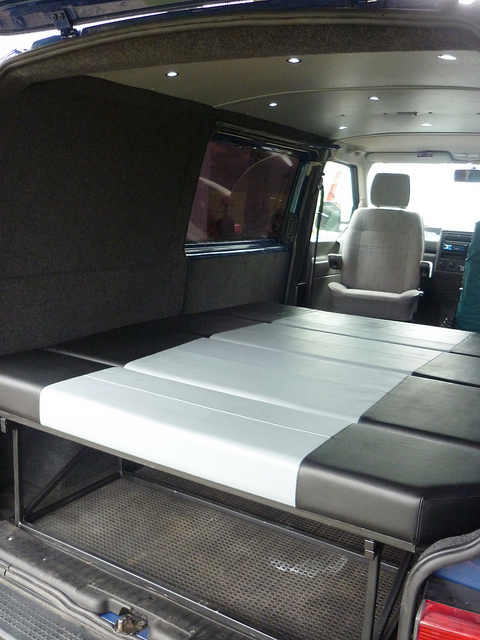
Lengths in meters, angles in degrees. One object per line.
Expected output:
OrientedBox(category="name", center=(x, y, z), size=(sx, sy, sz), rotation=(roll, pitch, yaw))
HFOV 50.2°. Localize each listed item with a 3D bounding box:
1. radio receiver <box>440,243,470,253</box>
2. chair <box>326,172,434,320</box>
OrientedBox(category="radio receiver", center=(1.979, -0.671, 4.729), size=(0.235, 0.087, 0.054), rotation=(6, 11, 17))
OrientedBox(category="chair", center=(1.263, -0.650, 4.672), size=(0.958, 1.220, 0.880), rotation=(8, 14, 31))
